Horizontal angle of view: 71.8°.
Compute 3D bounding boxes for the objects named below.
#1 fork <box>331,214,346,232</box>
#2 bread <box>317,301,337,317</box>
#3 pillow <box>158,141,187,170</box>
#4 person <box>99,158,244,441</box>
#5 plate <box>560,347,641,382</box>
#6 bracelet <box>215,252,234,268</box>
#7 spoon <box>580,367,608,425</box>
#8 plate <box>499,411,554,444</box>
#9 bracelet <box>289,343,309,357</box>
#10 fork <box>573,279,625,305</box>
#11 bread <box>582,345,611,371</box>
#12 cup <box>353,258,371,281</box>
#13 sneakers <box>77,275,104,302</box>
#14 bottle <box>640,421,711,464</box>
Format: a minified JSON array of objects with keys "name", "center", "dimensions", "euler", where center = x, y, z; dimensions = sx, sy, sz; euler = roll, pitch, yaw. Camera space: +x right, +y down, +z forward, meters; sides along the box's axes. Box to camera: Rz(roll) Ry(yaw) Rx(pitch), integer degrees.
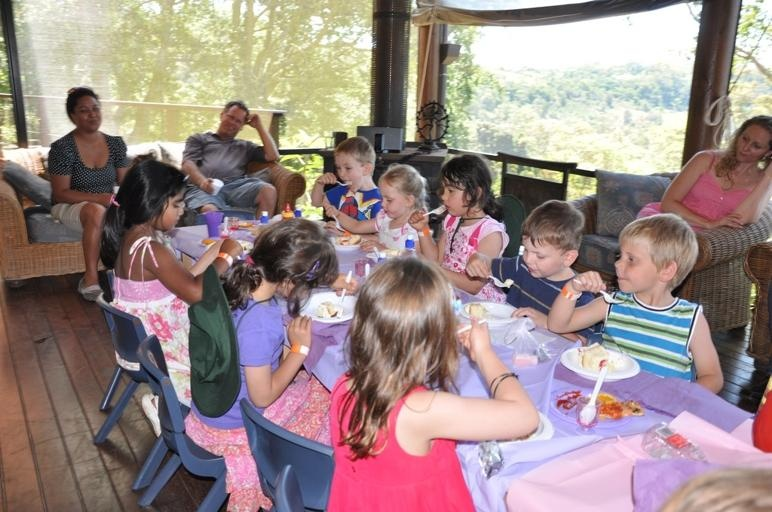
[{"name":"fork","center":[-0.349,-0.239,3.879],"dimensions":[0.066,0.096,0.173],"euler":[-29,51,-24]},{"name":"bread","center":[-0.267,0.242,2.454],"dimensions":[0.072,0.022,0.070],"euler":[8,15,23]},{"name":"pillow","center":[-2.482,-1.222,6.204],"dimensions":[0.406,0.129,0.419],"euler":[1,39,-30]},{"name":"person","center":[-1.106,0.203,3.057],"dimensions":[0.796,1.455,0.572],"euler":[2,28,14]},{"name":"plate","center":[0.849,0.439,2.101],"dimensions":[0.177,0.032,0.165],"euler":[1,17,-5]},{"name":"bracelet","center":[-0.830,0.006,2.782],"dimensions":[0.084,0.080,0.062],"euler":[-2,27,49]},{"name":"spoon","center":[0.734,0.468,1.884],"dimensions":[0.070,0.039,0.278],"euler":[17,46,27]},{"name":"plate","center":[0.506,0.596,1.825],"dimensions":[0.123,0.024,0.126],"euler":[7,17,44]},{"name":"bracelet","center":[-0.354,0.387,2.201],"dimensions":[0.059,0.033,0.054],"euler":[7,13,3]},{"name":"fork","center":[0.994,0.168,2.506],"dimensions":[0.303,0.068,0.052],"euler":[16,2,-16]},{"name":"bread","center":[0.830,0.400,2.101],"dimensions":[0.098,0.034,0.094],"euler":[-28,35,-25]},{"name":"cup","center":[-0.098,0.069,2.923],"dimensions":[0.120,0.107,0.115],"euler":[2,6,0]},{"name":"sneakers","center":[-2.478,0.269,4.467],"dimensions":[0.292,0.100,0.153],"euler":[20,26,41]},{"name":"bottle","center":[0.926,0.617,1.739],"dimensions":[0.084,0.044,0.141],"euler":[-21,28,-35]}]
